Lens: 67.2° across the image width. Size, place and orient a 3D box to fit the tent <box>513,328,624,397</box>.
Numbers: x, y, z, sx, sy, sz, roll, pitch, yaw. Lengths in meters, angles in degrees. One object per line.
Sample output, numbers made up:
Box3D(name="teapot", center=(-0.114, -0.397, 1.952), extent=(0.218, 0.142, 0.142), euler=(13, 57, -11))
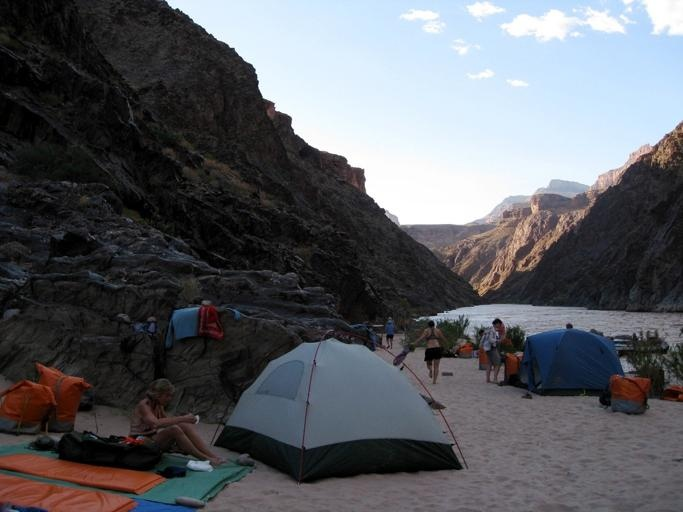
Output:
Box3D(name="tent", center=(6.402, 2.692, 14.248), extent=(2.133, 1.274, 2.099), euler=(-2, 1, 12))

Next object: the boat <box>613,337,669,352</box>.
Box3D(name="boat", center=(10.344, 3.056, 17.840), extent=(1.514, 0.298, 1.370), euler=(0, 3, 3))

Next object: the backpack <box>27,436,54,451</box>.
Box3D(name="backpack", center=(-4.793, 3.006, 8.262), extent=(0.265, 0.074, 0.258), euler=(6, -4, -43))

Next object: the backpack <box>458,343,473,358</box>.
Box3D(name="backpack", center=(5.314, 4.015, 21.933), extent=(0.527, 0.484, 0.504), euler=(1, 4, 17))

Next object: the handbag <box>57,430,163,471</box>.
Box3D(name="handbag", center=(-3.609, 3.026, 7.984), extent=(1.139, 0.322, 0.708), euler=(7, -11, -2))

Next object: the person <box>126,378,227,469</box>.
Box3D(name="person", center=(-2.753, 2.825, 8.764), extent=(1.786, 1.270, 0.942), euler=(7, -8, 6))
